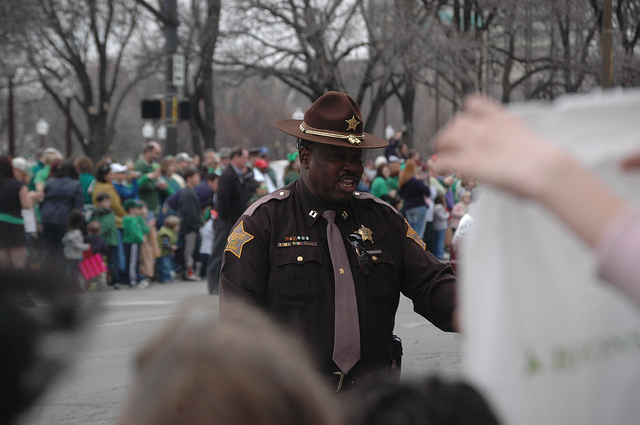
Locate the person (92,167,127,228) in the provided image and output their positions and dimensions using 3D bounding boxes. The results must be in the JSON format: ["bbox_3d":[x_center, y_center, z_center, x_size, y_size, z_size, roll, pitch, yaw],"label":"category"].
[{"bbox_3d":[-2.642,-0.211,10.545,0.239,0.791,0.528,5,13,22],"label":"person"}]

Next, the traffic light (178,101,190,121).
[{"bbox_3d":[-2.385,-1.790,14.618,0.060,0.271,0.275,8,7,29],"label":"traffic light"}]

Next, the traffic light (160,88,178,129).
[{"bbox_3d":[-2.578,-1.839,14.431,0.244,0.941,0.211,2,6,13],"label":"traffic light"}]

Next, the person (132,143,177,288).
[{"bbox_3d":[-2.395,0.014,11.800,0.549,1.843,1.460,0,12,-3],"label":"person"}]
